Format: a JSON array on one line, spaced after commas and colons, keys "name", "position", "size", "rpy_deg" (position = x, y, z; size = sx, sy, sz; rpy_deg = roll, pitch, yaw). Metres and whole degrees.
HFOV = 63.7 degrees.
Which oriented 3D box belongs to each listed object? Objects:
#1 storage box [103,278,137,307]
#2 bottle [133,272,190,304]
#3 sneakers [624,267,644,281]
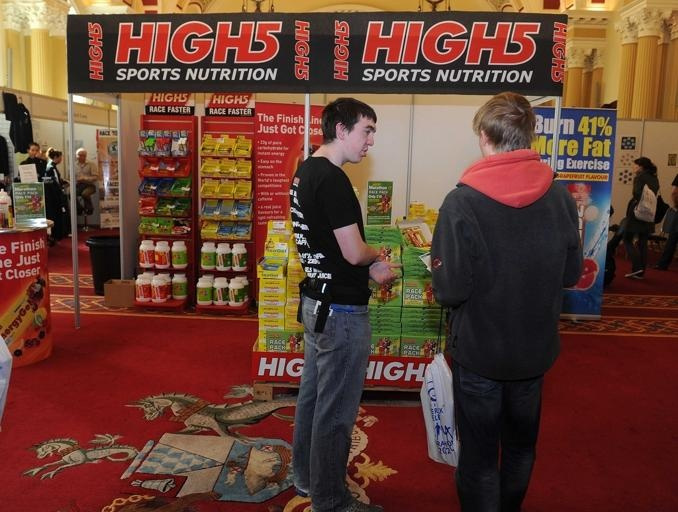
[{"name": "storage box", "position": [-2.765, 0.484, 6.843], "size": [0.363, 0.220, 0.180], "rpy_deg": [3, 18, 2]}, {"name": "bottle", "position": [-2.168, 0.403, 6.690], "size": [0.603, 0.282, 0.338], "rpy_deg": [-2, 7, -11]}, {"name": "sneakers", "position": [5.183, 0.339, 9.340], "size": [0.147, 0.136, 0.351], "rpy_deg": [-5, 7, -36]}]
